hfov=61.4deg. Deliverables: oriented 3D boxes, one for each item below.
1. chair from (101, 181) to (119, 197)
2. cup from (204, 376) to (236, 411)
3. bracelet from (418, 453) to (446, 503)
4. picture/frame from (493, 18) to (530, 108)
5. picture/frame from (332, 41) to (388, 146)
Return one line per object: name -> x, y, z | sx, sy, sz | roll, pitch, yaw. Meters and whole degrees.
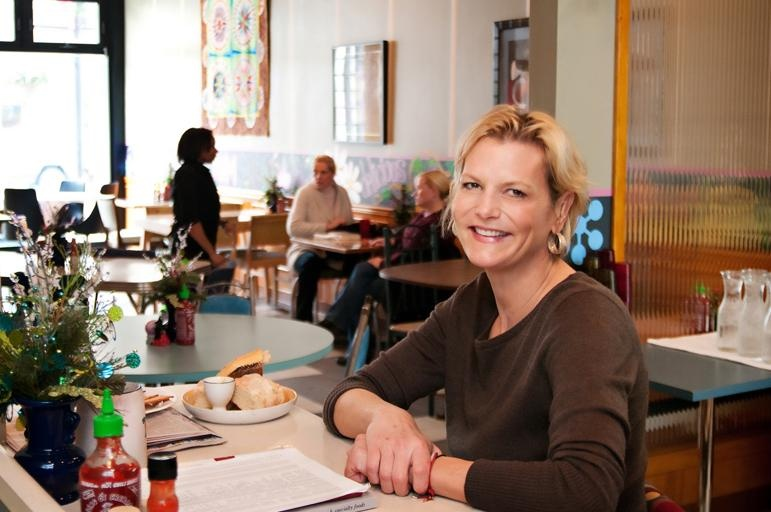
chair -> -3.668, -0.874, 8.607 | 0.247, 0.182, 0.247 | 2, -2, 13
cup -> -0.450, 0.373, 1.793 | 0.085, 0.097, 0.084 | 1, 2, 0
bracelet -> 0.099, 0.480, 1.426 | 0.030, 0.081, 0.060 | 8, -20, -2
picture/frame -> 0.972, -1.493, 5.012 | 0.131, 0.686, 0.401 | -5, 8, -19
picture/frame -> -0.244, -1.614, 6.414 | 0.128, 1.198, 1.153 | -3, 0, -34
